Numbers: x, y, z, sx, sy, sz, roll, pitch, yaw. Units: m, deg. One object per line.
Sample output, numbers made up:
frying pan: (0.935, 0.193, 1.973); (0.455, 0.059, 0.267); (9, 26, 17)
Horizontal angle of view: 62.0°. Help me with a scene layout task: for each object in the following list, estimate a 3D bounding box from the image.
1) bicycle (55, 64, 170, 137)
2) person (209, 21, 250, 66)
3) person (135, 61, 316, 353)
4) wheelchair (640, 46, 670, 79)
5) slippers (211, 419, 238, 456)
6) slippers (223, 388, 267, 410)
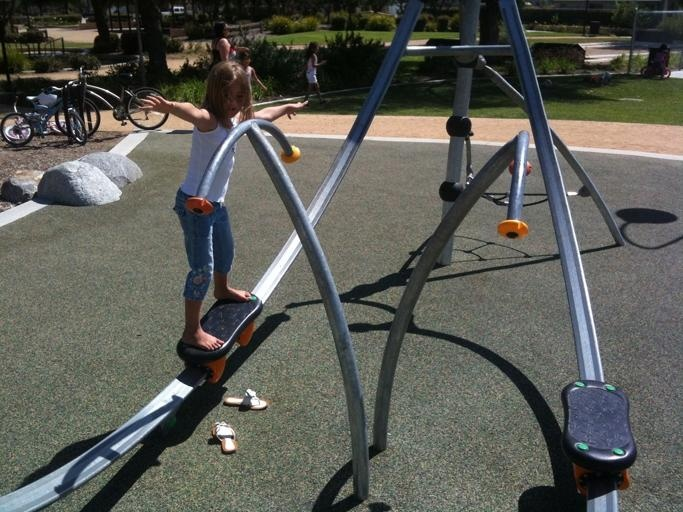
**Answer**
bicycle: (-4.701, -3.155, 11.567); (2.190, 1.295, 0.933); (-21, 36, -30)
person: (-2.238, -4.016, 10.736); (0.440, 0.743, 2.086); (-5, 23, -10)
person: (-0.812, -0.319, 3.616); (0.632, 1.725, 1.098); (8, 24, 17)
wheelchair: (11.521, -7.052, 20.809); (0.795, 1.053, 0.652); (-17, 36, 7)
slippers: (-0.710, 1.086, 3.434); (0.134, 0.077, 0.266); (7, 21, -33)
slippers: (-0.605, 0.941, 3.705); (0.294, 0.122, 0.117); (2, 41, 5)
